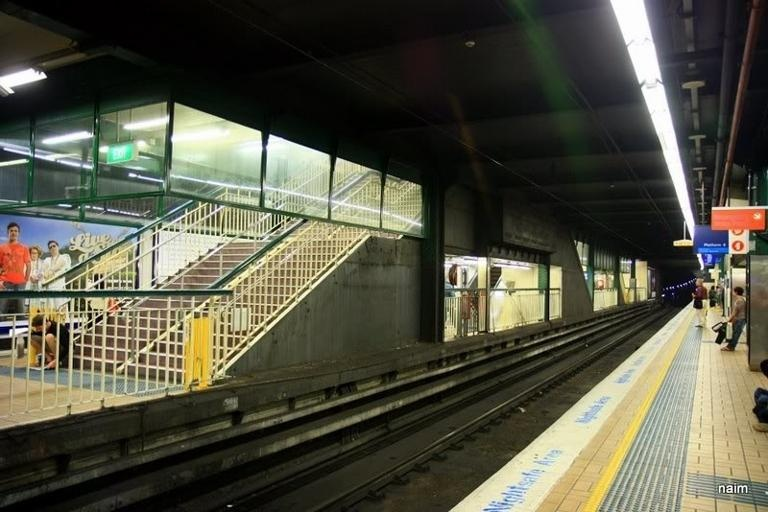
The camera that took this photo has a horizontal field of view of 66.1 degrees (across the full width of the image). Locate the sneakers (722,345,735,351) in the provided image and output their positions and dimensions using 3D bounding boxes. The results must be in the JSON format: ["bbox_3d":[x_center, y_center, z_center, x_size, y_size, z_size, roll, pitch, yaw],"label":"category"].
[{"bbox_3d":[10.446,2.818,17.957,0.426,0.170,0.152,3,-1,33],"label":"sneakers"}]

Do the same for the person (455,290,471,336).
[{"bbox_3d":[2.211,1.577,16.457,0.358,1.232,0.379,-13,31,-23],"label":"person"}]

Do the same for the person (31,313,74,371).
[{"bbox_3d":[-5.845,1.465,10.322,0.675,0.960,0.621,-2,8,-13],"label":"person"}]
